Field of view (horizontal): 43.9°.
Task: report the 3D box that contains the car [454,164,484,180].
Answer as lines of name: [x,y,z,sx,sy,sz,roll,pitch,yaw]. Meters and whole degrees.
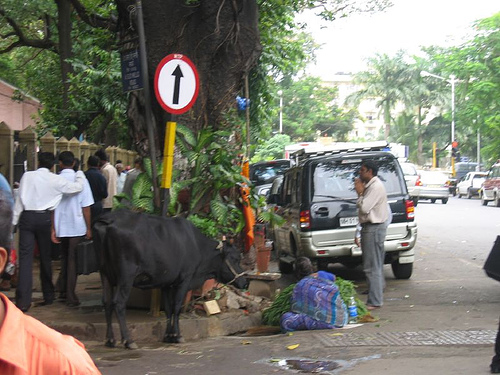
car: [17.137,-1.227,48.683,1.581,1.423,2.673,-1,6,-2]

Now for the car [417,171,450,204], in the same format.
car: [9.429,-0.116,31.376,1.136,1.002,2.301,0,5,4]

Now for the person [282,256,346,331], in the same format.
person: [0.869,1.395,8.329,0.818,0.441,1.040,3,43,-5]

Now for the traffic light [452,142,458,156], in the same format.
traffic light: [16.198,-3.038,49.109,0.380,1.037,1.180,0,1,23]

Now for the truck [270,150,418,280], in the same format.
truck: [1.650,0.455,11.619,1.866,1.695,3.358,0,2,-10]

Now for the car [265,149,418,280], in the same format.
car: [1.630,0.377,11.729,1.895,1.669,3.253,0,2,-10]

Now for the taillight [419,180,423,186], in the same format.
taillight: [8.487,-0.255,30.831,0.194,0.319,0.342,0,-2,11]

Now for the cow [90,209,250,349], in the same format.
cow: [-1.015,1.176,8.003,0.695,1.611,2.407,-6,-9,40]

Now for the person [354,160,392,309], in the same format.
person: [1.768,0.686,9.144,0.449,2.150,0.451,-2,2,-43]

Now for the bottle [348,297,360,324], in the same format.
bottle: [1.411,1.643,8.369,0.148,0.334,0.398,0,1,17]

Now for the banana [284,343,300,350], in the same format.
banana: [0.501,1.832,7.155,0.046,0.021,0.143,20,16,42]

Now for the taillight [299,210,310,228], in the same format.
taillight: [0.939,0.544,10.723,0.190,0.297,0.064,1,2,42]

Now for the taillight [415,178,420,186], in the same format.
taillight: [8.051,-0.273,29.689,0.163,0.351,0.526,1,1,32]

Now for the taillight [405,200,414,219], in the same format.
taillight: [2.782,0.381,10.797,0.172,0.324,0.094,-1,2,-38]

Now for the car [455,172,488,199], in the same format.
car: [14.867,-0.228,41.291,1.509,1.498,3.215,1,3,1]
